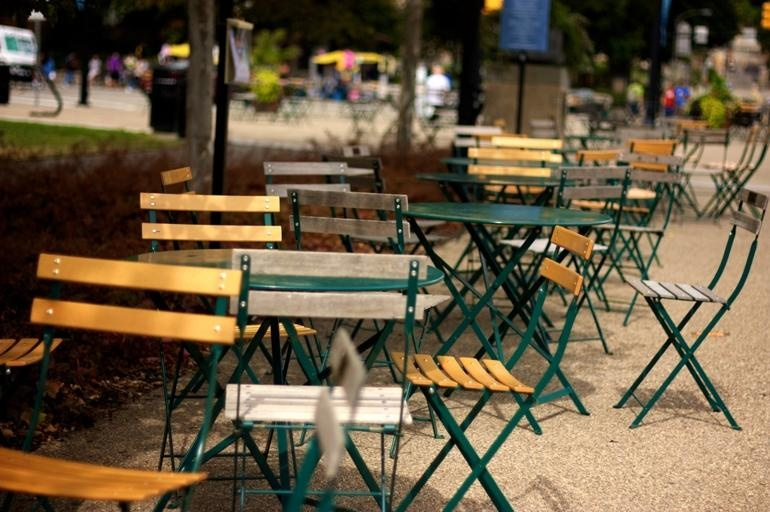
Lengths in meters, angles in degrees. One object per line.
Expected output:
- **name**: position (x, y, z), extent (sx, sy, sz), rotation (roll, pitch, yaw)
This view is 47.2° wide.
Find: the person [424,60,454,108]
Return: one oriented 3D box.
- **person**: position (1.046, -3.155, 16.547), extent (0.503, 0.861, 0.563), rotation (3, -1, 4)
